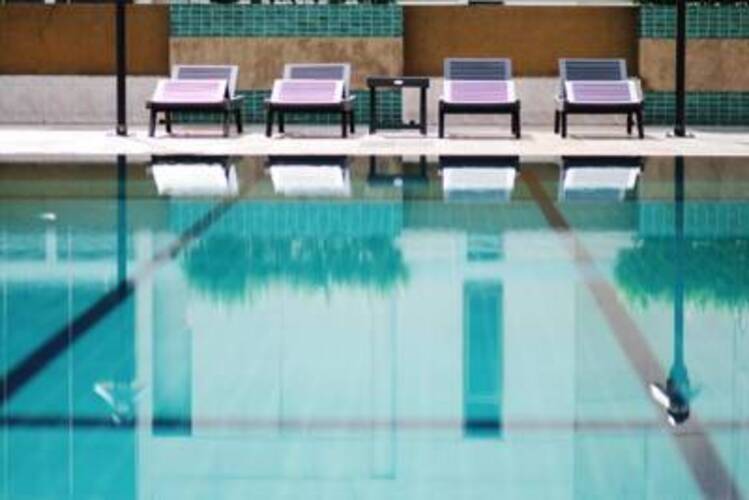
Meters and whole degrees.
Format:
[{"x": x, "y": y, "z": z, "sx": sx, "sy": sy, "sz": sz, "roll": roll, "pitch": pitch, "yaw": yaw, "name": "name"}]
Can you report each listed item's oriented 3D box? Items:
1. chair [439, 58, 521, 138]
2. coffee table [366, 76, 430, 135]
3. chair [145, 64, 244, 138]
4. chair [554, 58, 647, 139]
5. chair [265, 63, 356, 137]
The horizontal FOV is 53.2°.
[{"x": 1.590, "y": -2.264, "z": 11.238, "sx": 1.159, "sy": 1.083, "sz": 1.373, "roll": -1, "pitch": 18, "yaw": 7, "name": "chair"}, {"x": 0.426, "y": -2.300, "z": 11.934, "sx": 0.985, "sy": 0.972, "sz": 0.809, "roll": 1, "pitch": 8, "yaw": 3, "name": "coffee table"}, {"x": -2.685, "y": -2.264, "z": 11.372, "sx": 1.232, "sy": 0.959, "sz": 1.245, "roll": 2, "pitch": 12, "yaw": 3, "name": "chair"}, {"x": 3.367, "y": -2.308, "z": 11.475, "sx": 1.292, "sy": 1.186, "sz": 1.394, "roll": -2, "pitch": 10, "yaw": -5, "name": "chair"}, {"x": -0.934, "y": -2.271, "z": 11.395, "sx": 1.237, "sy": 1.056, "sz": 1.191, "roll": 1, "pitch": 14, "yaw": 4, "name": "chair"}]
